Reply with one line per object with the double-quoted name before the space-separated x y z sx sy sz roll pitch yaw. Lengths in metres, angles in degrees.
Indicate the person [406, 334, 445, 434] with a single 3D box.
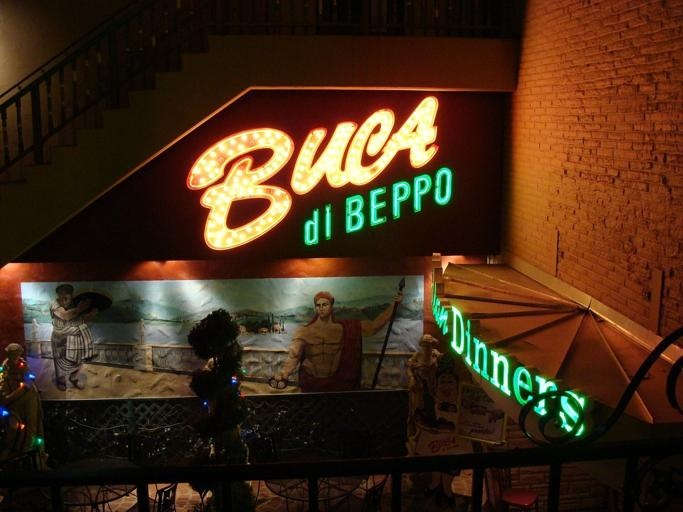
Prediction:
"person" 1.244 2.001 10.717 0.452 1.487 0.506 0 8 8
